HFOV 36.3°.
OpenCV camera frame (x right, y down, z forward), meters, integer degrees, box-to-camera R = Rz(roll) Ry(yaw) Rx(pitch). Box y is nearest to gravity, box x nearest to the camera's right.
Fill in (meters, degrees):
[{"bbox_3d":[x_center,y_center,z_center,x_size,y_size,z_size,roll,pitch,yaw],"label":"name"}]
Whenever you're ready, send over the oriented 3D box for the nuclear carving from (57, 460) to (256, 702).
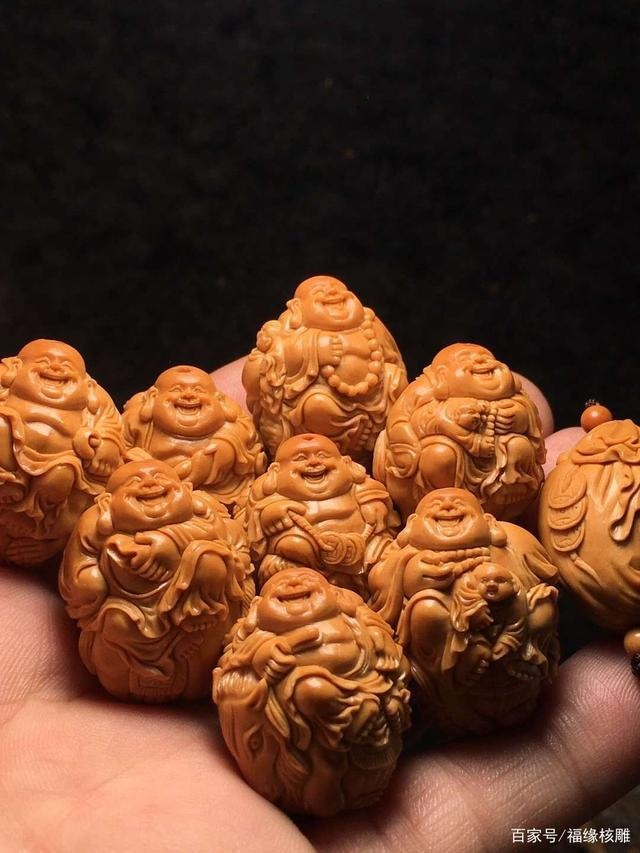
[{"bbox_3d":[-0.271,0.278,1.643,0.309,0.411,0.273,-8,42,-14],"label":"nuclear carving"}]
